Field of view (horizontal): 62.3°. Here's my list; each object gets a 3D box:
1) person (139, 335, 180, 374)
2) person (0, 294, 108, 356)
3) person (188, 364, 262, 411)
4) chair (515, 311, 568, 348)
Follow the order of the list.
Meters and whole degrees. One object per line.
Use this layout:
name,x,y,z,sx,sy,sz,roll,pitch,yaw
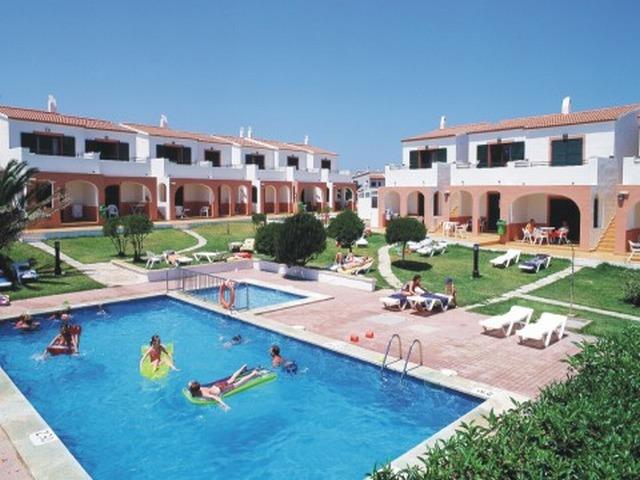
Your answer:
person,-4.336,3.072,14.113,0.735,0.520,1.172,-2,13,-16
person,-7.643,2.676,16.031,1.413,0.931,2.090,12,14,0
person,-2.367,3.585,13.101,1.077,0.315,0.987,-11,22,-41
chair,6.598,2.625,15.593,0.839,0.571,1.646,0,19,46
